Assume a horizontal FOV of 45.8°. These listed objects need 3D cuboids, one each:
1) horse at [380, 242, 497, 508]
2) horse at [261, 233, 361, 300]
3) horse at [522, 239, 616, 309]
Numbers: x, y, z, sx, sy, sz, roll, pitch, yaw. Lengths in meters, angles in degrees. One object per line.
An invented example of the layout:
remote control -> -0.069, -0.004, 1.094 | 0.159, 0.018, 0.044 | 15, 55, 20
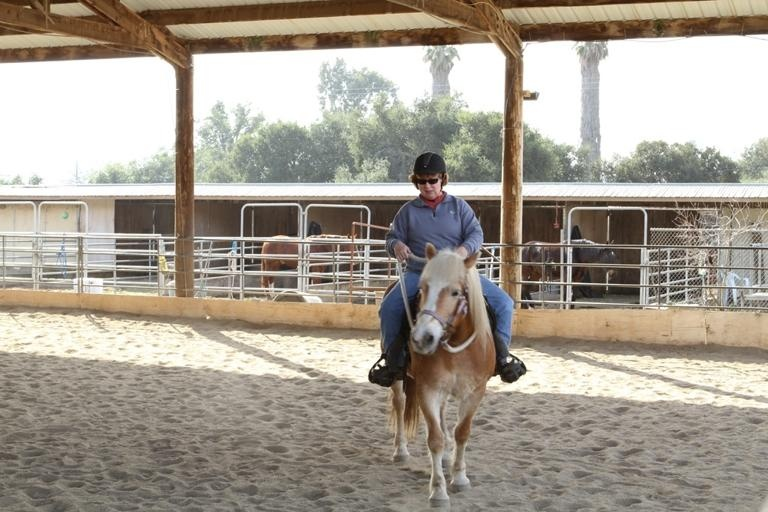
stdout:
horse -> 0.660, 1.511, 11.847 | 1.153, 3.327, 1.182 | 1, 2, 44
horse -> -1.636, 0.207, 19.928 | 2.145, 1.378, 0.514 | 0, -5, -8
horse -> 3.880, 0.408, 19.916 | 2.208, 1.355, 0.561 | 3, -2, -7
